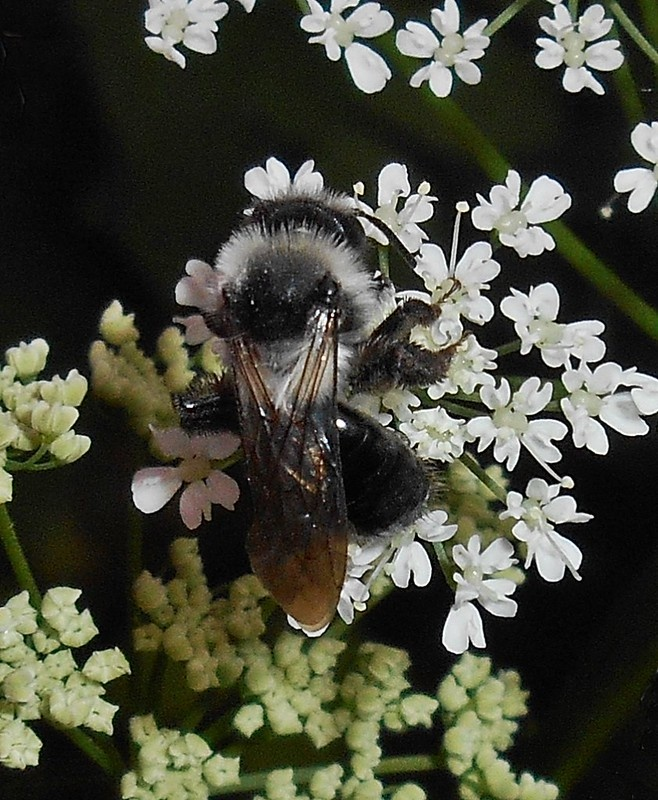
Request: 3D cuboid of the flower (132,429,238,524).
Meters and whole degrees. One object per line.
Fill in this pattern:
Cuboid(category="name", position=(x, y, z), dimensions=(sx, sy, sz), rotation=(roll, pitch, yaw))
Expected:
Cuboid(category="flower", position=(-0.190, 0.085, 1.410), dimensions=(0.144, 0.127, 0.033), rotation=(-19, 15, 9))

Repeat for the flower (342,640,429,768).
Cuboid(category="flower", position=(0.069, 0.388, 1.402), dimensions=(0.147, 0.133, 0.043), rotation=(6, -8, -8))
